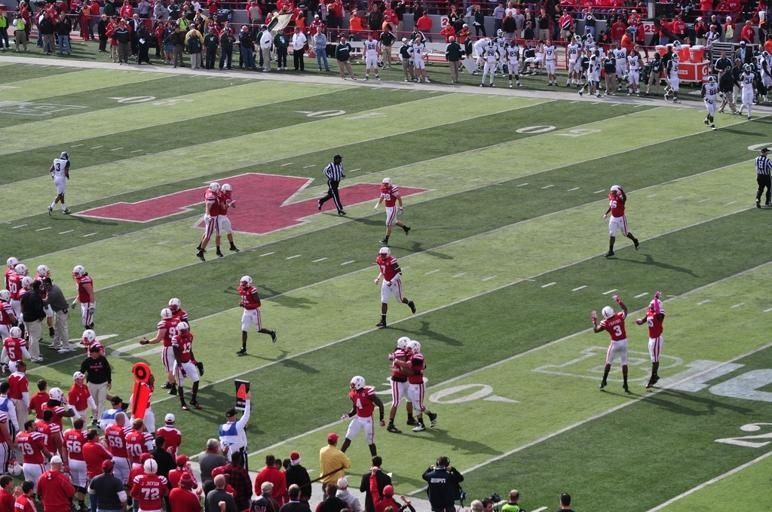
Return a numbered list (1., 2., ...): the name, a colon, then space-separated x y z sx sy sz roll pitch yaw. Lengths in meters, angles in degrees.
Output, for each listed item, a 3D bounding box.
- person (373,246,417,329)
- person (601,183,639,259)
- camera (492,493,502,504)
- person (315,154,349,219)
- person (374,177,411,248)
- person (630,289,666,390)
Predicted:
1. person: 0.008 0.738 42.344 1.043 2.265 1.428 10 -2 -42
2. person: 6.937 -1.067 45.176 1.279 1.886 1.253 -3 0 4
3. camera: 2.372 5.236 33.011 0.251 0.290 0.109 3 45 1
4. person: -1.708 -2.280 49.002 1.419 2.109 0.708 3 0 3
5. person: 0.227 -1.405 46.491 1.479 1.783 0.936 -9 10 -34
6. person: 6.744 2.127 39.077 0.931 2.357 1.282 4 -4 4
